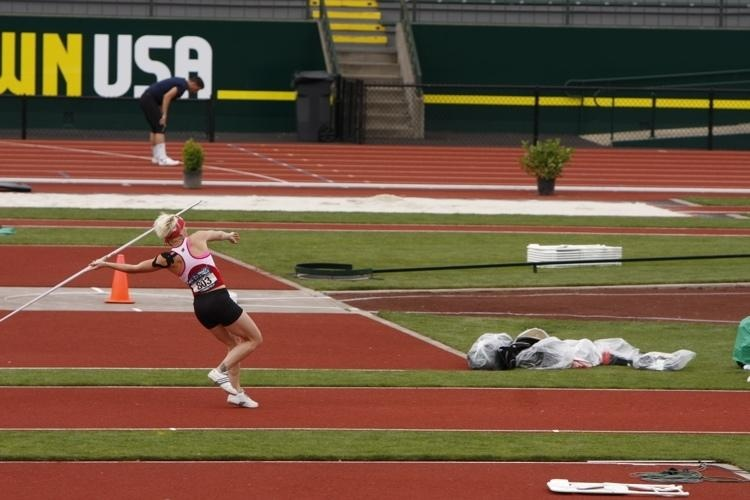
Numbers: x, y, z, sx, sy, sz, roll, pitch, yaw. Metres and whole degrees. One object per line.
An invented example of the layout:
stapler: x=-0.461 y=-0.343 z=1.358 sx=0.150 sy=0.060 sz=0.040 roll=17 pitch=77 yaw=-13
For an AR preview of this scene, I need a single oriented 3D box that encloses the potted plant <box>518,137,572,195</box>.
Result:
potted plant: x=4.689 y=-2.209 z=49.099 sx=1.824 sy=1.432 sz=1.506 roll=-3 pitch=-4 yaw=7
